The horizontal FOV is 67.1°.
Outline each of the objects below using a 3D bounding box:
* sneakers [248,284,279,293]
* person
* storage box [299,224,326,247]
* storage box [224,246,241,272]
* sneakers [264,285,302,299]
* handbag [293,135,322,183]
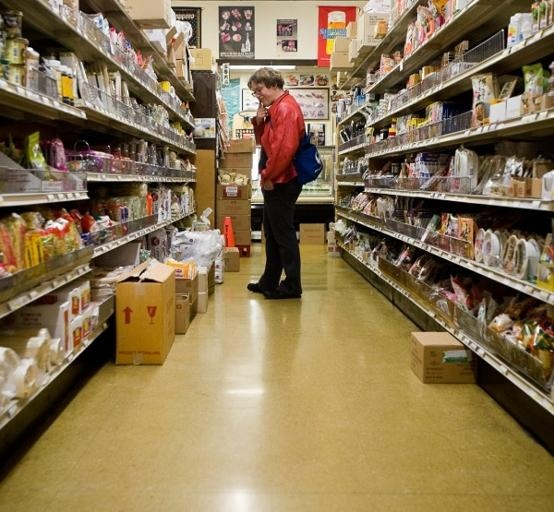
[{"bbox_3d":[-0.165,0.337,4.338,0.308,0.145,0.106,-1,2,23],"label":"sneakers"},{"bbox_3d":[0.019,-0.684,4.042,0.464,2.215,0.584,-9,14,-30],"label":"person"},{"bbox_3d":[0.707,-0.431,8.442,0.430,0.353,0.442,-1,0,0],"label":"storage box"},{"bbox_3d":[-0.609,0.043,5.647,0.191,0.277,0.310,-3,13,-2],"label":"storage box"},{"bbox_3d":[0.063,0.360,4.112,0.357,0.170,0.152,3,-5,3],"label":"sneakers"},{"bbox_3d":[0.298,-0.931,3.988,0.231,0.496,0.324,1,13,16],"label":"handbag"}]
